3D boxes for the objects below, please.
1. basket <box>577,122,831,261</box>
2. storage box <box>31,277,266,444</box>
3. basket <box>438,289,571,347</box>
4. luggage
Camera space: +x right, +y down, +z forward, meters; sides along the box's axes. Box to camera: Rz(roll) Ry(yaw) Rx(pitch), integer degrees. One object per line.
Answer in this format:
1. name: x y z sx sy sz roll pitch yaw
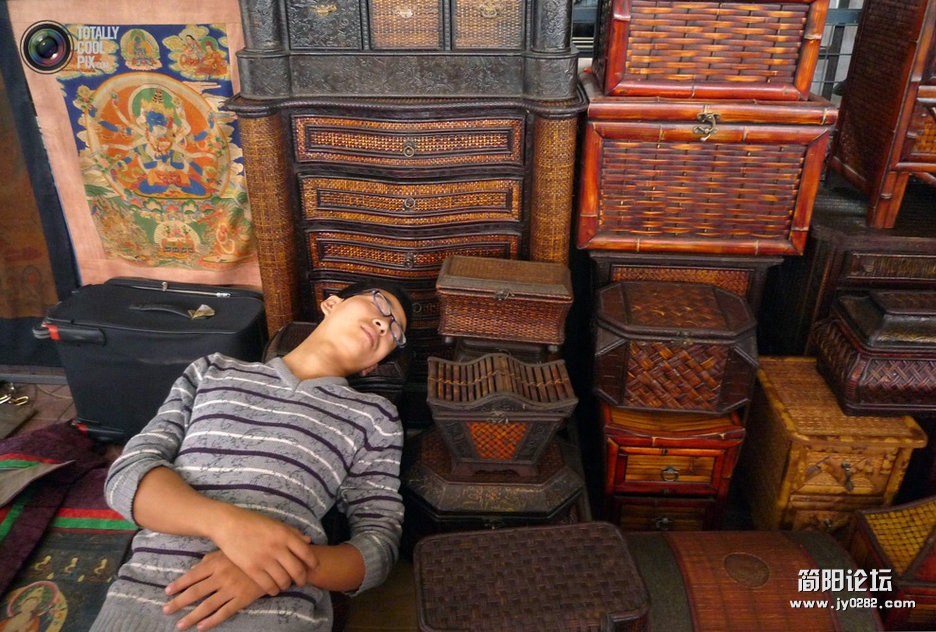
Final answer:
1. basket: 0.921 -0.383 2.504 1.053 0.387 0.590 1 28 4
2. storage box: -1.333 0.184 2.750 1.120 0.536 0.456 5 36 -3
3. basket: 0.125 0.008 2.500 0.507 0.155 0.253 2 27 2
4. luggage: -1.327 0.182 2.747 1.089 0.522 0.444 5 36 -2
